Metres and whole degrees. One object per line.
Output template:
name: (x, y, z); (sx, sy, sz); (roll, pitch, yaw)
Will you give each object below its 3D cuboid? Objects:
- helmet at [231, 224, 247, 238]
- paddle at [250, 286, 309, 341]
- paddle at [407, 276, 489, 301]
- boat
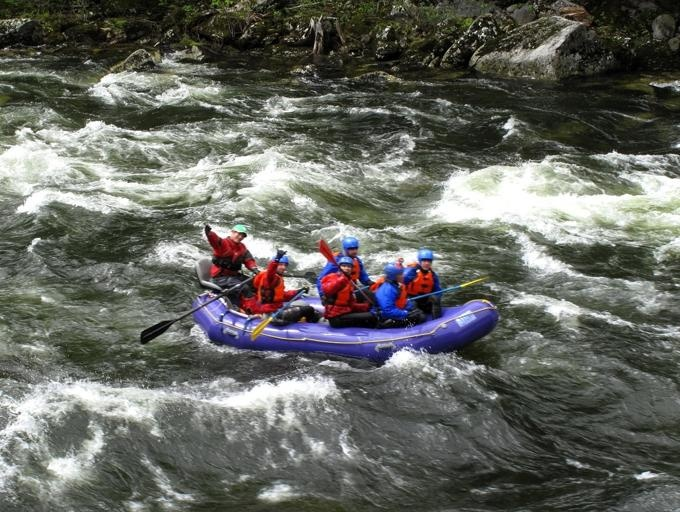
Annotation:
helmet: (-1.939, -0.448, 13.166); (0.239, 0.284, 0.286); (-9, 21, -4)
paddle: (-1.106, 1.059, 12.309); (1.756, 0.199, 0.078); (-26, -11, -25)
paddle: (1.985, 0.626, 12.954); (2.572, 0.221, 0.081); (-7, 54, 6)
boat: (-0.183, 1.254, 12.217); (5.247, 0.892, 1.495); (2, 27, 9)
